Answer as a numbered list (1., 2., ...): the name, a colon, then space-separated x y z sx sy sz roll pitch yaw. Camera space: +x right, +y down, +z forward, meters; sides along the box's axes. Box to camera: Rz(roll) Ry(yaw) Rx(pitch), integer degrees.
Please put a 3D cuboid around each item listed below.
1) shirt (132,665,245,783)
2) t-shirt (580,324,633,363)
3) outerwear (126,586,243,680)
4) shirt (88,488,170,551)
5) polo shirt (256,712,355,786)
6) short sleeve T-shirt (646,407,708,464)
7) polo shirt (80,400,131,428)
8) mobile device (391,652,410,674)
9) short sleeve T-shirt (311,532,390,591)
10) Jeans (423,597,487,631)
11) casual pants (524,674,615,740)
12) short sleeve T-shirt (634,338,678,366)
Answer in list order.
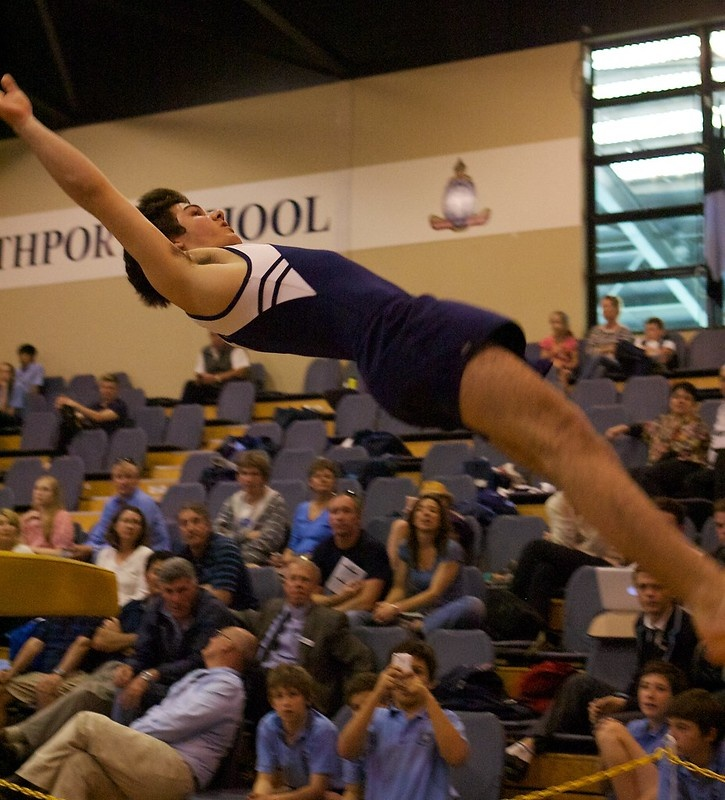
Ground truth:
1. shirt: -0.614 1.213 3.537 0.290 0.345 0.300 6 -14 2
2. t-shirt: 2.124 -0.528 8.134 0.426 0.125 0.393 -8 22 0
3. outerwear: -0.745 0.930 3.843 0.314 0.379 0.412 -15 -7 30
4. shirt: -1.310 0.676 5.345 0.528 0.372 0.262 8 14 30
5. polo shirt: -0.218 1.218 3.349 0.329 0.247 0.186 -8 -2 30
6. short sleeve T-shirt: 1.920 0.236 5.771 0.438 0.356 0.258 -3 -7 35
7. polo shirt: -2.447 0.122 9.133 0.371 0.151 0.266 2 6 -8
8. mobile device: 0.131 0.879 3.163 0.063 0.054 0.014 7 -4 14
9. short sleeve T-shirt: -0.081 0.753 4.499 0.439 0.312 0.206 0 16 2
10. Jeans: 0.394 0.922 4.053 0.175 0.067 0.164 -12 -7 -6
11. casual pants: 0.784 1.138 3.579 0.220 0.293 0.118 25 -16 0
12. short sleeve T-shirt: 2.607 -0.441 8.301 0.349 0.127 0.284 23 -18 -16
